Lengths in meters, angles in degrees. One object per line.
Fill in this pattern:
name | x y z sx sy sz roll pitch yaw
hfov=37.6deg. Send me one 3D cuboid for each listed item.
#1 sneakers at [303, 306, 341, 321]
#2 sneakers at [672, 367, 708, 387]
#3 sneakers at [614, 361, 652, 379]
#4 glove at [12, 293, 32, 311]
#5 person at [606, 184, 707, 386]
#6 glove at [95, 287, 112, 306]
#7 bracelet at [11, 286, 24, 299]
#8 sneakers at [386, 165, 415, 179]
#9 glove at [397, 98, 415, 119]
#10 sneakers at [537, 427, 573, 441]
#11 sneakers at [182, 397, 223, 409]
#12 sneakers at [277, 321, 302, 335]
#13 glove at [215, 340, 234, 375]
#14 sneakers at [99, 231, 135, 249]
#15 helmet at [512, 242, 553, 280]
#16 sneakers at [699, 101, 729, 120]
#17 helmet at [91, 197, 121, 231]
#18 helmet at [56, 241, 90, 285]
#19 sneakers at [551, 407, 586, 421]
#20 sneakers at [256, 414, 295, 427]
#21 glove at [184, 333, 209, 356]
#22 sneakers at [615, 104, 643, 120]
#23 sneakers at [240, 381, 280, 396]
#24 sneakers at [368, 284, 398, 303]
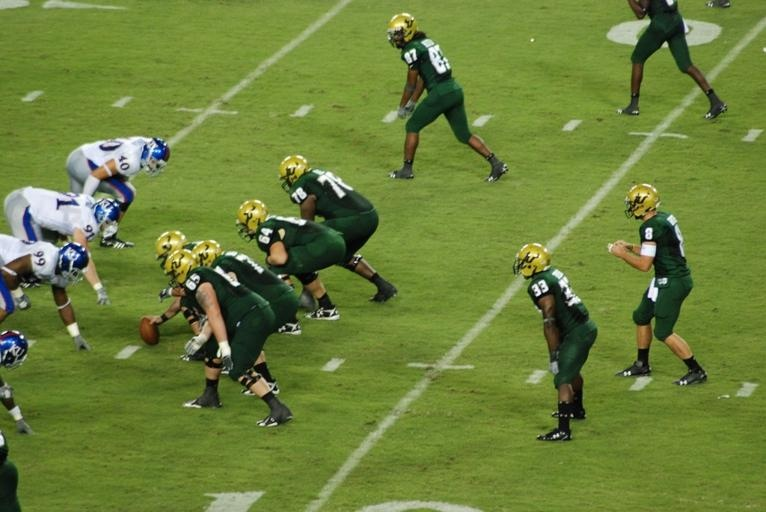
sneakers | -0.617 0.613 12.005 0.424 0.126 0.127 2 6 7
sneakers | 2.981 1.153 10.832 0.412 0.137 0.111 -8 37 6
sneakers | 2.401 1.109 10.978 0.405 0.127 0.121 -1 26 -1
glove | -3.680 0.471 11.468 0.157 0.219 0.140 5 65 -3
person | 2.704 0.407 11.049 0.980 2.067 1.485 2 41 10
glove | -2.957 0.433 11.912 0.187 0.173 0.181 -17 28 -14
bracelet | -3.609 0.358 11.191 0.117 0.093 0.088 -18 15 36
sneakers | 0.251 -1.078 14.529 0.344 0.179 0.149 10 28 12
glove | 0.305 -1.858 14.265 0.267 0.098 0.212 -33 9 22
sneakers | 1.547 1.598 10.129 0.333 0.087 0.110 1 3 5
sneakers | -1.681 1.381 10.614 0.402 0.110 0.111 3 7 4
sneakers | -0.966 0.754 11.796 0.320 0.099 0.112 2 8 0
glove | -1.476 0.932 10.245 0.159 0.318 0.164 -8 16 -7
sneakers | -3.150 -0.169 13.297 0.545 0.169 0.147 -2 6 -4
helmet | 1.335 0.010 10.410 0.458 0.286 0.308 11 25 29
sneakers | 4.538 -1.982 15.454 0.408 0.202 0.139 -16 33 51
helmet | -2.963 -0.446 12.066 0.432 0.296 0.289 7 19 -16
helmet | -3.036 0.069 11.083 0.309 0.402 0.356 -8 40 -2
sneakers | 1.721 1.454 10.421 0.396 0.111 0.109 2 5 -3
sneakers | -0.998 1.498 10.354 0.386 0.109 0.110 -1 15 -4
glove | -1.722 0.813 10.404 0.293 0.146 0.108 -33 -18 25
sneakers | 3.442 -2.027 15.745 0.390 0.211 0.130 8 25 20
sneakers | -1.212 1.267 10.738 0.497 0.139 0.135 1 8 -6
sneakers | 0.029 0.417 12.298 0.370 0.158 0.114 -29 48 14
